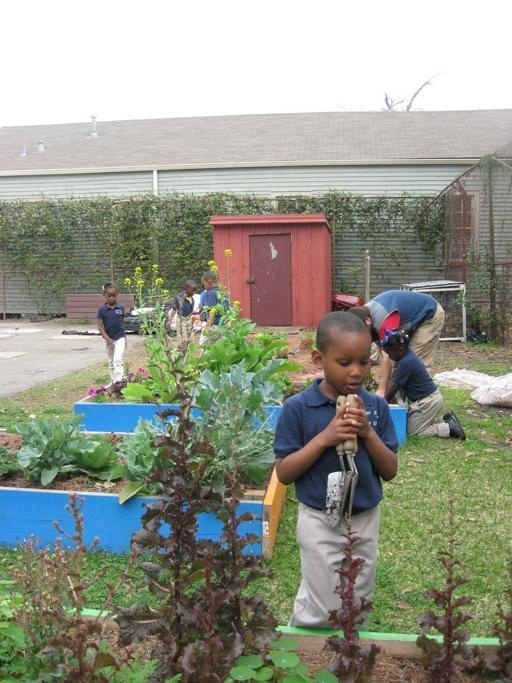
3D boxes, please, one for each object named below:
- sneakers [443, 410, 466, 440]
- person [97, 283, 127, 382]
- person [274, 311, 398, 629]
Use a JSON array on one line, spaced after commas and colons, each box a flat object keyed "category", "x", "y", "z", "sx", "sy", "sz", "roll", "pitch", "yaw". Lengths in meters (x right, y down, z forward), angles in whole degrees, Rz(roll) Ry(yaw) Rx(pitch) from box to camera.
[{"category": "sneakers", "x": 1.609, "y": 0.688, "z": 5.447, "sx": 0.104, "sy": 0.122, "sz": 0.273, "roll": -4, "pitch": 40, "yaw": -23}, {"category": "person", "x": -1.722, "y": -0.101, "z": 7.957, "sx": 0.299, "sy": 1.194, "sz": 0.712, "roll": -3, "pitch": 7, "yaw": -13}, {"category": "person", "x": 0.248, "y": 0.408, "z": 2.078, "sx": 0.337, "sy": 0.988, "sz": 0.449, "roll": 5, "pitch": 10, "yaw": 39}]
